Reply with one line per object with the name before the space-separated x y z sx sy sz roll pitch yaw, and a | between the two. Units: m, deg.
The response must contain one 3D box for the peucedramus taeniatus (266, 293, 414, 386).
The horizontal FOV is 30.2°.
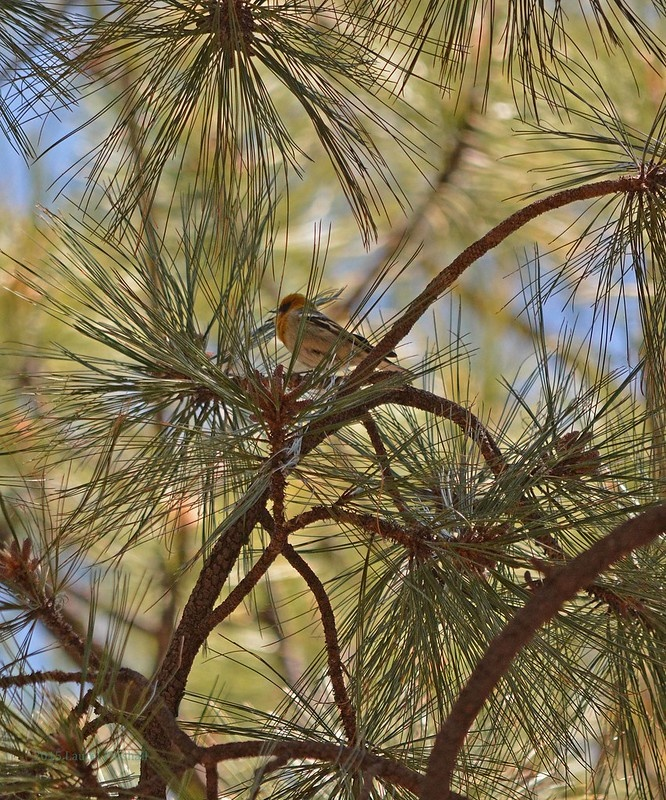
peucedramus taeniatus | 0.029 -0.198 4.037 0.465 0.279 0.159 8 -27 -4
